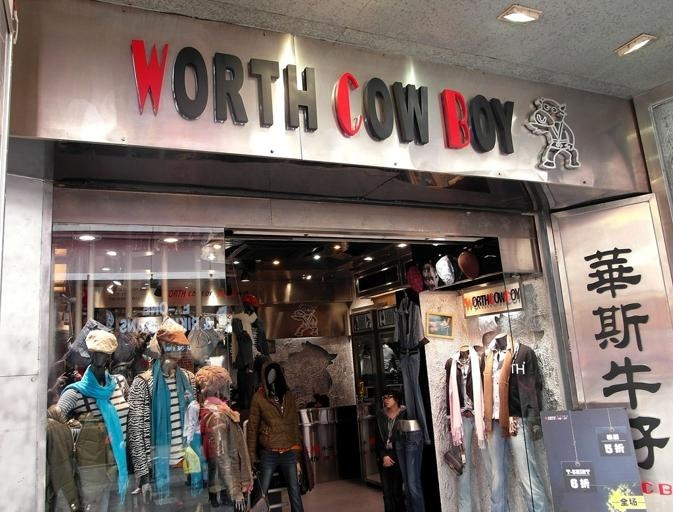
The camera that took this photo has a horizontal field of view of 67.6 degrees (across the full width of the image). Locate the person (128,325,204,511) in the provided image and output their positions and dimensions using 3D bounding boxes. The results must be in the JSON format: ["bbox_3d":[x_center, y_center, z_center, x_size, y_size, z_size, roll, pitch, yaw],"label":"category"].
[{"bbox_3d":[-1.057,0.935,3.050,0.379,1.082,0.087,3,-12,-26],"label":"person"}]

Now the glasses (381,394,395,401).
[{"bbox_3d":[0.584,1.575,5.549,0.091,0.036,0.098,-2,-44,16],"label":"glasses"}]

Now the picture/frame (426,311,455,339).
[{"bbox_3d":[1.096,0.754,5.345,0.256,0.237,0.027,0,-9,1],"label":"picture/frame"}]

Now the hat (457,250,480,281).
[{"bbox_3d":[1.241,0.085,4.781,0.061,0.260,0.201,-34,27,-32],"label":"hat"}]

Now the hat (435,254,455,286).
[{"bbox_3d":[1.119,0.162,5.221,0.130,0.282,0.304,-2,-11,-4],"label":"hat"}]

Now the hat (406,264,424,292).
[{"bbox_3d":[0.876,0.265,5.695,0.087,0.351,0.399,-1,-11,-9],"label":"hat"}]

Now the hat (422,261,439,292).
[{"bbox_3d":[1.007,0.234,5.459,0.076,0.264,0.152,-1,-11,-35],"label":"hat"}]

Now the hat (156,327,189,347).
[{"bbox_3d":[-1.018,0.508,3.119,0.109,0.073,0.145,2,-6,22],"label":"hat"}]

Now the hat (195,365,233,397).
[{"bbox_3d":[-0.770,0.784,3.165,0.198,0.205,0.165,-4,3,-19],"label":"hat"}]
